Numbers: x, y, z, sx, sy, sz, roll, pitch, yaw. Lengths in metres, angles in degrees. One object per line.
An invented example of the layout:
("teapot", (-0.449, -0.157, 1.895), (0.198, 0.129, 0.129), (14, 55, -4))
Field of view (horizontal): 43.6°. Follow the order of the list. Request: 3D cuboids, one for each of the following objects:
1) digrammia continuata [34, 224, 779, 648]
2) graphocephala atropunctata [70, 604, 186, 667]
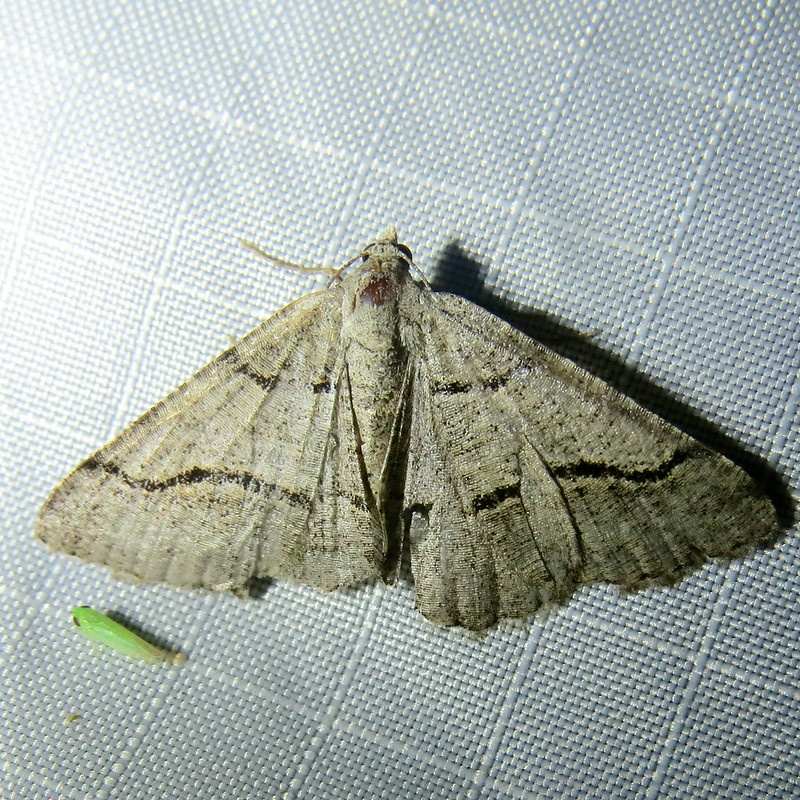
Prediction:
("digrammia continuata", (-0.024, 0.086, 2.348), (1.526, 0.967, 0.282), (-13, 2, 4))
("graphocephala atropunctata", (-0.717, 0.619, 2.577), (0.342, 0.108, 0.070), (13, 16, 28))
